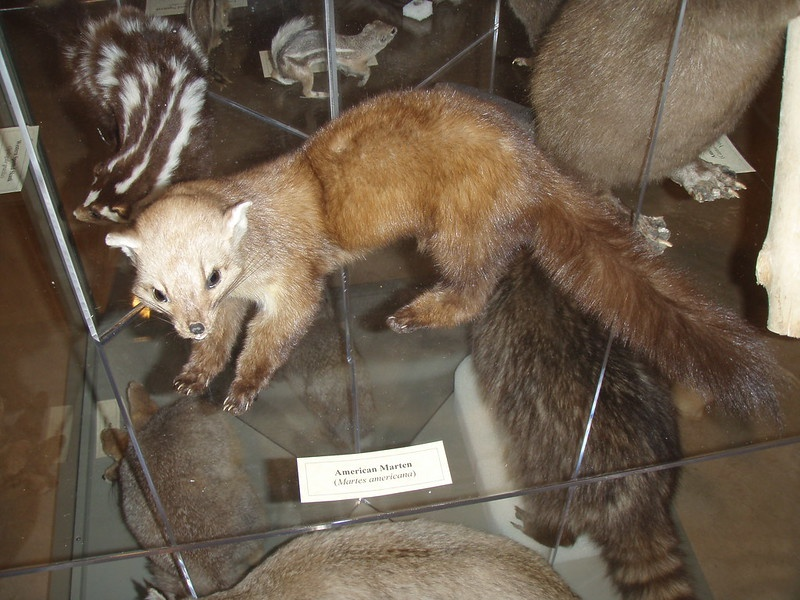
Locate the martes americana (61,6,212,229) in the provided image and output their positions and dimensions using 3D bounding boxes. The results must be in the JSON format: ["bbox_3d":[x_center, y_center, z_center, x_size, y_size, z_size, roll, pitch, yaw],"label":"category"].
[{"bbox_3d":[-0.491,-0.378,1.444,0.259,0.148,0.453,-5,91,-15],"label":"martes americana"}]

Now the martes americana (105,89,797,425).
[{"bbox_3d":[0.145,-0.124,1.482,1.175,0.430,0.673,0,51,6],"label":"martes americana"}]

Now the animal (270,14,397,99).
[{"bbox_3d":[-0.151,-0.512,1.568,0.298,0.177,0.118,-12,60,-13],"label":"animal"}]

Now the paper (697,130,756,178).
[{"bbox_3d":[0.684,-0.308,1.571,0.080,0.005,0.092,37,83,9],"label":"paper"}]
